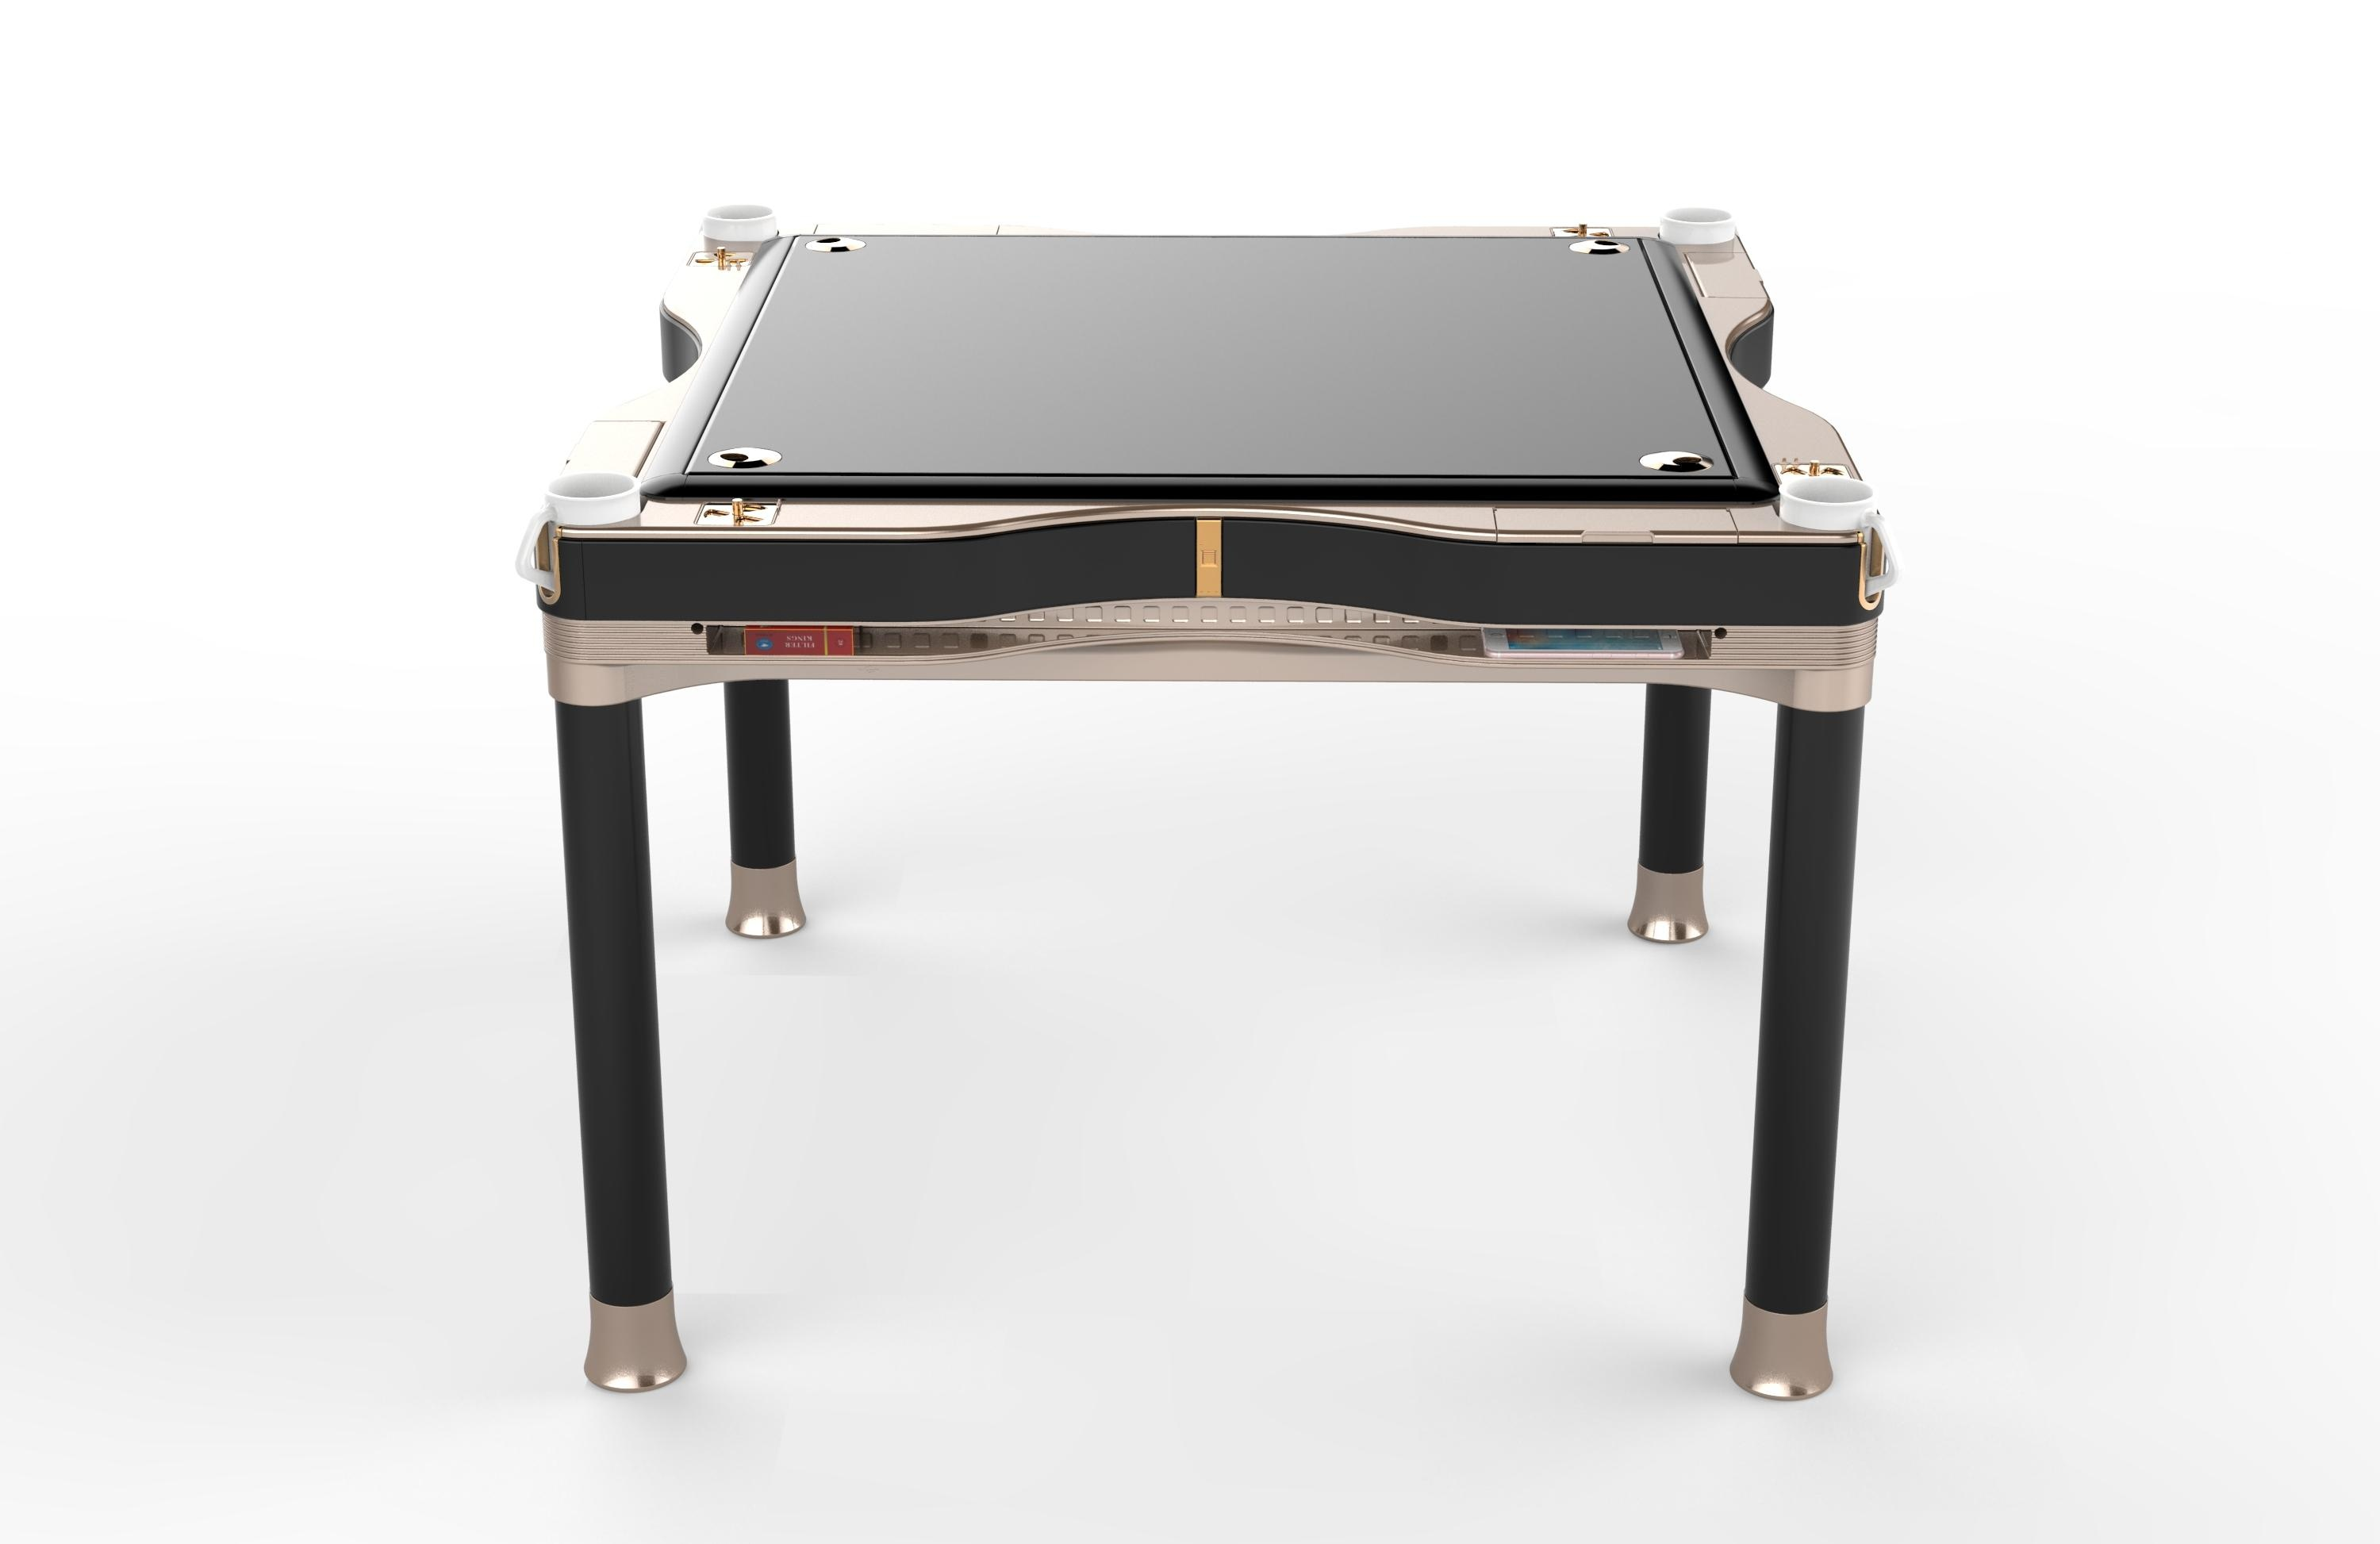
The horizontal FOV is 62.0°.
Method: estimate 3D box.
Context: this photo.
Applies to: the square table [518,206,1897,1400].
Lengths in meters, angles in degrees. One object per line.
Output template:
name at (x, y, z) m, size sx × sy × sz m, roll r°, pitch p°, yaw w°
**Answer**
square table at (0.045, -0.083, 3.844) m, size 3.081 × 2.221 × 1.427 m, roll 0°, pitch -66°, yaw 2°
